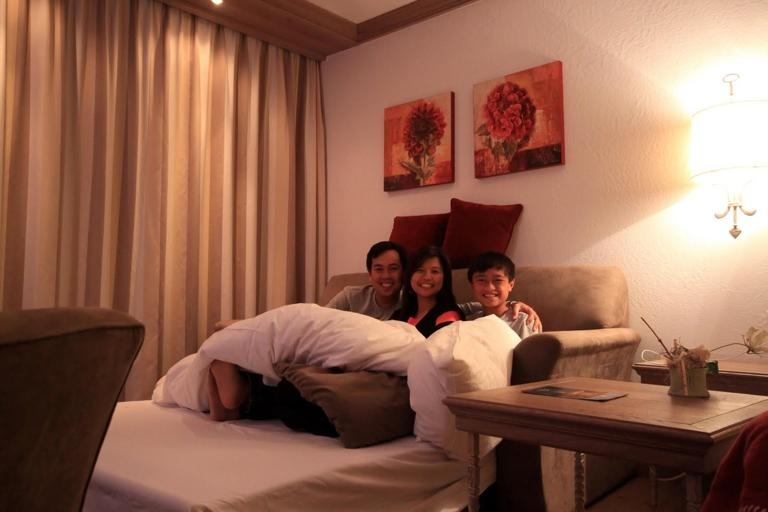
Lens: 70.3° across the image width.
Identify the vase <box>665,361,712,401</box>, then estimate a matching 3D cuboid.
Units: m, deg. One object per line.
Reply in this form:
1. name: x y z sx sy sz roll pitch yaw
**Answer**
1. vase: 1.025 0.431 1.842 0.123 0.089 0.103 3 -9 -14
